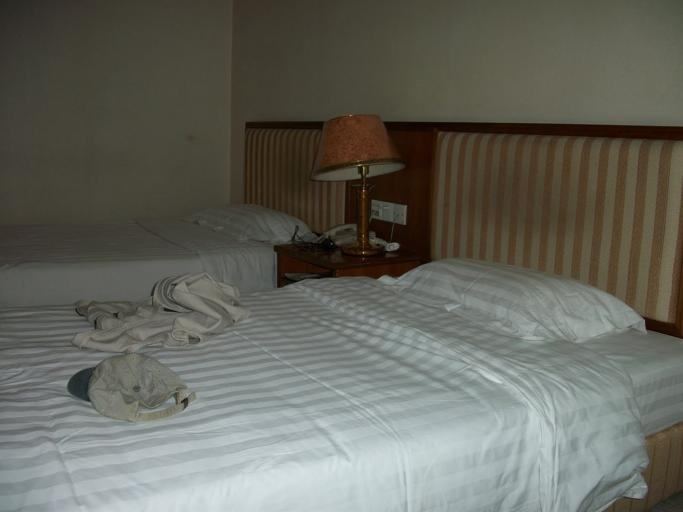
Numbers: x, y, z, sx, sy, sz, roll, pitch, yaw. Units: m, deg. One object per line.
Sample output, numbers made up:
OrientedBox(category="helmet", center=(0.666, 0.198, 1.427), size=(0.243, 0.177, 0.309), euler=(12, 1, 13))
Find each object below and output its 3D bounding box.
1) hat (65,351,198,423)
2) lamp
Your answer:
OrientedBox(category="hat", center=(-0.607, 0.384, 1.444), size=(0.351, 0.131, 0.224), euler=(1, 2, 29))
OrientedBox(category="lamp", center=(0.111, -0.469, 3.159), size=(0.610, 0.954, 0.517), euler=(0, 3, -1))
